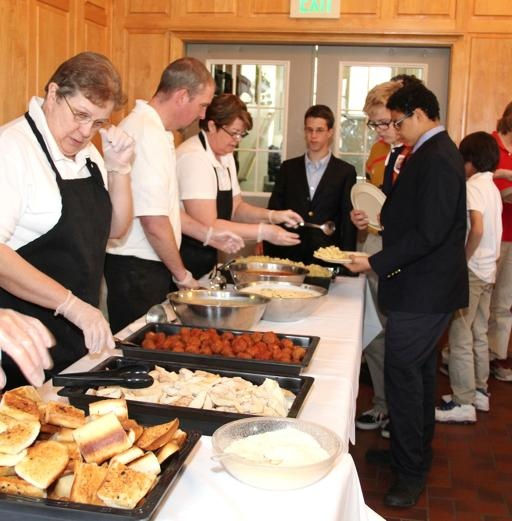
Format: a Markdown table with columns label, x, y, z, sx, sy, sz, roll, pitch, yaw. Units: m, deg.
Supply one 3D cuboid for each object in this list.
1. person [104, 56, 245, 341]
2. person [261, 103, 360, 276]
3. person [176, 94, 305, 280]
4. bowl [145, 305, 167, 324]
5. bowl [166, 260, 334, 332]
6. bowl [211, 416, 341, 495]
| label | x | y | z | sx | sy | sz | roll | pitch | yaw |
| --- | --- | --- | --- | --- | --- | --- | --- | --- | --- |
| person | -0.437 | -0.278 | 2.150 | 0.615 | 1.178 | 0.661 | 4 | 12 | -11 |
| person | 0.438 | -0.510 | 3.566 | 0.612 | 1.383 | 0.543 | 4 | 11 | 12 |
| person | -0.141 | -0.333 | 2.460 | 0.667 | 0.983 | 0.556 | -5 | 16 | -39 |
| bowl | -0.322 | 0.173 | 1.509 | 0.057 | 0.061 | 0.025 | 0 | 15 | -13 |
| bowl | -0.077 | 0.086 | 1.817 | 0.713 | 0.166 | 0.653 | 1 | 6 | 0 |
| bowl | 0.033 | 0.313 | 0.735 | 0.208 | 0.085 | 0.153 | 4 | 8 | 0 |
